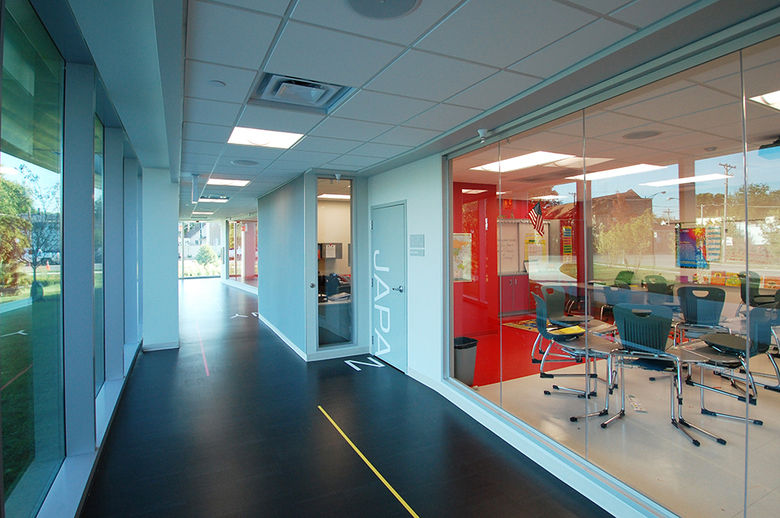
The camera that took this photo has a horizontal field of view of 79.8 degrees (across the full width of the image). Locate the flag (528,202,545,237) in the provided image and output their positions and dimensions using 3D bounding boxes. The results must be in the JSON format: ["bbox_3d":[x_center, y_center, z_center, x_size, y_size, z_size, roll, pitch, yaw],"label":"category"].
[{"bbox_3d":[1.514,-0.418,4.792,0.043,0.334,0.206,-6,13,-21],"label":"flag"}]

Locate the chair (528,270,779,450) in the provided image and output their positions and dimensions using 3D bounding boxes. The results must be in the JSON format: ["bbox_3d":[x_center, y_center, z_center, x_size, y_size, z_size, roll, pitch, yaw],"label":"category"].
[{"bbox_3d":[2.326,0.707,3.907,1.329,0.737,1.333,1,-1,-27],"label":"chair"}]
